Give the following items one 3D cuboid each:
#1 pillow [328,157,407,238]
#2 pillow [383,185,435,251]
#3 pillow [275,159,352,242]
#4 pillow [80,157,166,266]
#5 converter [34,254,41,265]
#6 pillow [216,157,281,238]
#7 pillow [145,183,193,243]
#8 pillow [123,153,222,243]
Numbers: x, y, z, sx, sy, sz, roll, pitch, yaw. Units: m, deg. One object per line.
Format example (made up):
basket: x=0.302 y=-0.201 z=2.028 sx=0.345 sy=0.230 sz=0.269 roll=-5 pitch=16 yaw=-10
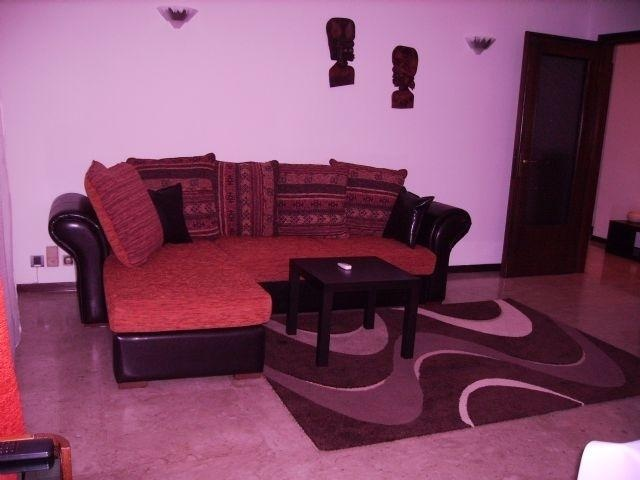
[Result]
pillow: x=0.457 y=-0.390 z=4.282 sx=0.684 sy=0.752 sz=0.293 roll=9 pitch=31 yaw=22
pillow: x=0.729 y=-0.204 z=3.930 sx=0.132 sy=0.431 sz=0.432 roll=11 pitch=11 yaw=-35
pillow: x=-0.070 y=-0.318 z=3.997 sx=0.687 sy=0.669 sz=0.238 roll=2 pitch=-9 yaw=-16
pillow: x=-1.236 y=-0.157 z=3.020 sx=0.214 sy=0.700 sz=0.643 roll=-19 pitch=-22 yaw=10
converter: x=-2.350 y=0.161 z=3.890 sx=0.074 sy=0.069 sz=0.018 roll=-3 pitch=4 yaw=-22
pillow: x=-0.606 y=-0.336 z=3.909 sx=0.662 sy=0.848 sz=0.126 roll=0 pitch=-1 yaw=-11
pillow: x=-1.112 y=-0.203 z=3.522 sx=0.115 sy=0.382 sz=0.371 roll=-5 pitch=7 yaw=29
pillow: x=-1.036 y=-0.380 z=3.748 sx=0.690 sy=0.689 sz=0.203 roll=-7 pitch=-5 yaw=-13
